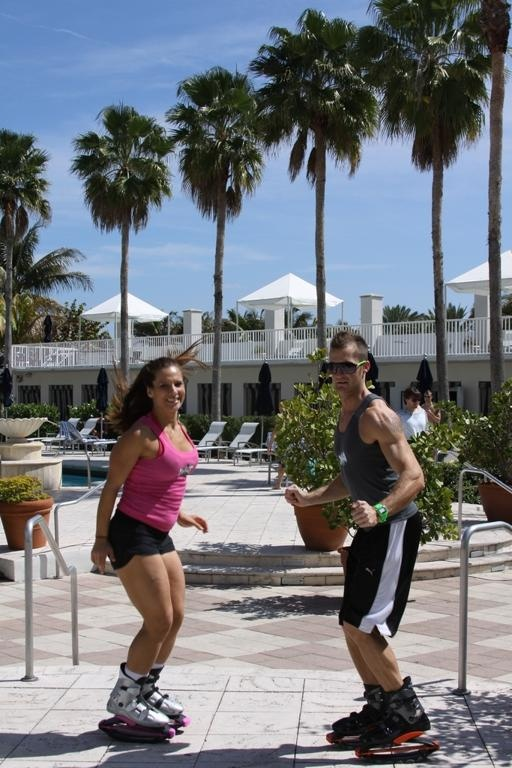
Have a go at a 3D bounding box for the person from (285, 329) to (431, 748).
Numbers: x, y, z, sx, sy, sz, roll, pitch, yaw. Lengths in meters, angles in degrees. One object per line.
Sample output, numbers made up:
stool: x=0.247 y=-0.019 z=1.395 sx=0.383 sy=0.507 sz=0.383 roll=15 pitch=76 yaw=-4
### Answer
person: x=0.471 y=0.610 z=3.560 sx=0.409 sy=1.181 sz=0.846 roll=-2 pitch=1 yaw=-3

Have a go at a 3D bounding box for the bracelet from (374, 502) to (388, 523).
bracelet: x=0.455 y=0.475 z=3.211 sx=0.044 sy=0.053 sz=0.102 roll=-1 pitch=2 yaw=35

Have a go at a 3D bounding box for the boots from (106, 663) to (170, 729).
boots: x=-0.486 y=1.299 z=3.623 sx=0.265 sy=0.226 sz=0.112 roll=11 pitch=2 yaw=16

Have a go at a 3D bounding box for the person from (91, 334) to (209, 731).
person: x=-0.475 y=0.686 z=3.812 sx=0.427 sy=1.400 sz=0.591 roll=-2 pitch=1 yaw=0
